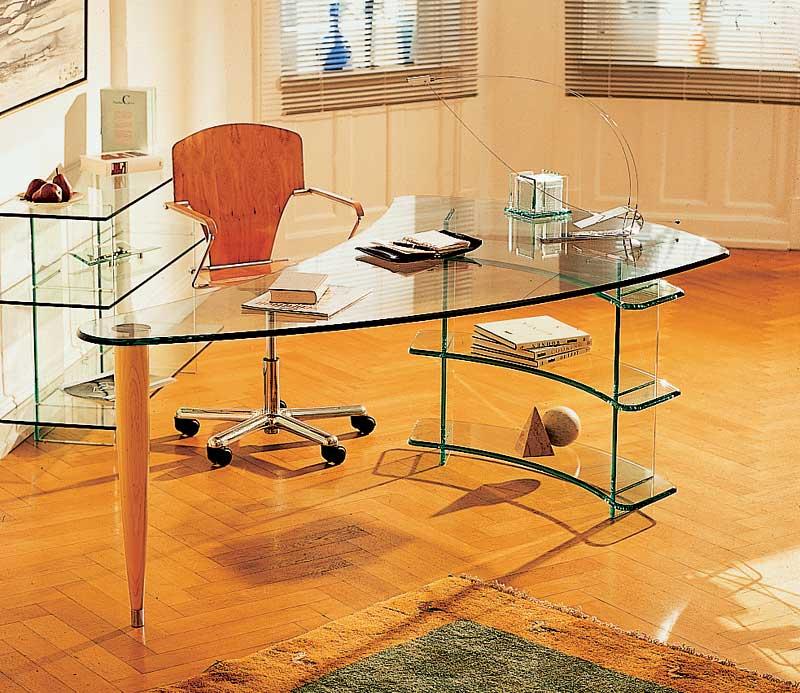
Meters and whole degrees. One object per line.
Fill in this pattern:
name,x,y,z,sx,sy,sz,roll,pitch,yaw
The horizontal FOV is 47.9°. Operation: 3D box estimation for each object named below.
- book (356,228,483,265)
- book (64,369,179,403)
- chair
book,0.096,-0.317,2.871,0.277,0.041,0.186,-15,21,-34
book,-1.000,0.134,3.153,0.231,0.019,0.230,6,15,29
chair,-0.469,-0.225,3.767,1.193,1.276,0.941,6,21,-13
